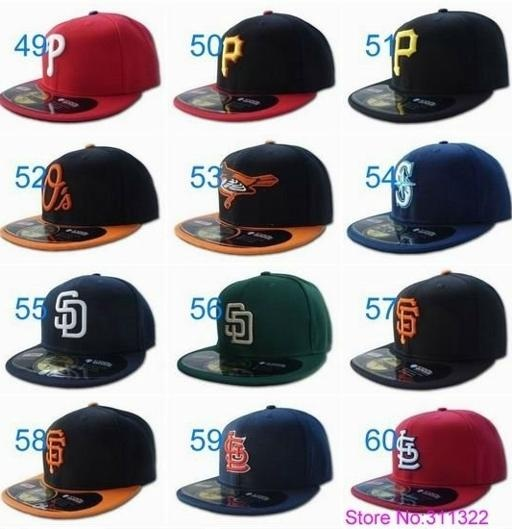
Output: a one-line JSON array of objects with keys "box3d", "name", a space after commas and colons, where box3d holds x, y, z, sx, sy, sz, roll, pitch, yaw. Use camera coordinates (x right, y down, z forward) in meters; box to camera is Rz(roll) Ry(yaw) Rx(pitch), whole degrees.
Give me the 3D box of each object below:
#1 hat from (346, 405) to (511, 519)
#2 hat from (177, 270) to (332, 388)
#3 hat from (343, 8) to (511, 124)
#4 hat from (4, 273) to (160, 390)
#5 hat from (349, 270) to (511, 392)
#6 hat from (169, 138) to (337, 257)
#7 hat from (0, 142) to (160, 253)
[{"box3d": [1.009, 1.155, 3.686, 0.861, 0.468, 0.664, -26, 30, -36], "name": "hat"}, {"box3d": [-0.038, 0.418, 3.795, 0.847, 0.507, 0.911, -2, 24, 12], "name": "hat"}, {"box3d": [0.990, -1.156, 3.705, 0.952, 0.564, 0.711, -4, 25, 7], "name": "hat"}, {"box3d": [-0.937, 0.418, 4.035, 0.988, 0.478, 1.090, 4, 6, 22], "name": "hat"}, {"box3d": [0.987, 0.362, 3.650, 1.114, 0.449, 0.803, -7, 7, -35], "name": "hat"}, {"box3d": [0.085, -0.427, 3.839, 0.950, 0.408, 0.827, -9, 14, -43], "name": "hat"}, {"box3d": [-1.194, -0.427, 3.952, 0.893, 0.482, 0.774, 3, 26, 21], "name": "hat"}]
